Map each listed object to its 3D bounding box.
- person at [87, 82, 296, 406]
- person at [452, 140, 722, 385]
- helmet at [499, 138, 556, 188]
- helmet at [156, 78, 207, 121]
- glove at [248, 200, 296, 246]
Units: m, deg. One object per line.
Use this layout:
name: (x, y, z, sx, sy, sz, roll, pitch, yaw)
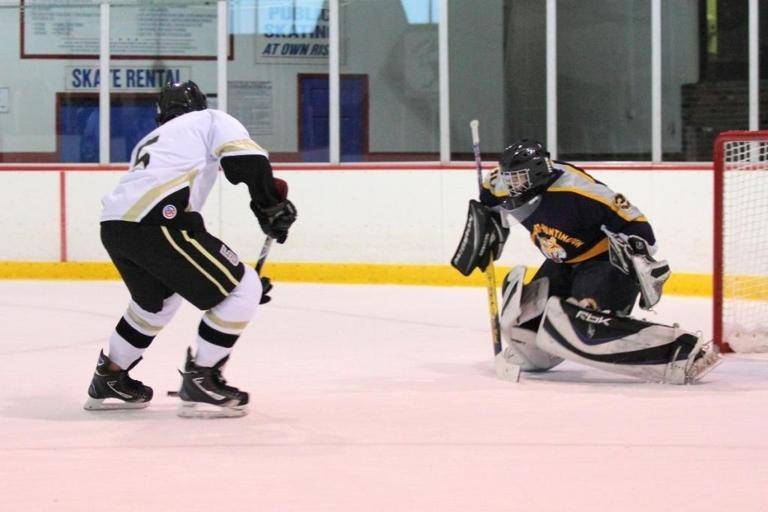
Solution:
person: (-1.143, -0.043, 5.848, 1.086, 1.918, 0.478, 3, 6, 18)
person: (1.517, 0.091, 7.107, 2.056, 1.410, 1.072, 4, 8, 38)
helmet: (0.901, -0.582, 6.372, 0.319, 0.297, 0.392, 1, 21, 38)
helmet: (-1.260, -0.923, 5.974, 0.251, 0.245, 0.297, 4, 14, 28)
glove: (-0.627, -0.196, 5.822, 0.310, 0.198, 0.126, 28, 26, 7)
